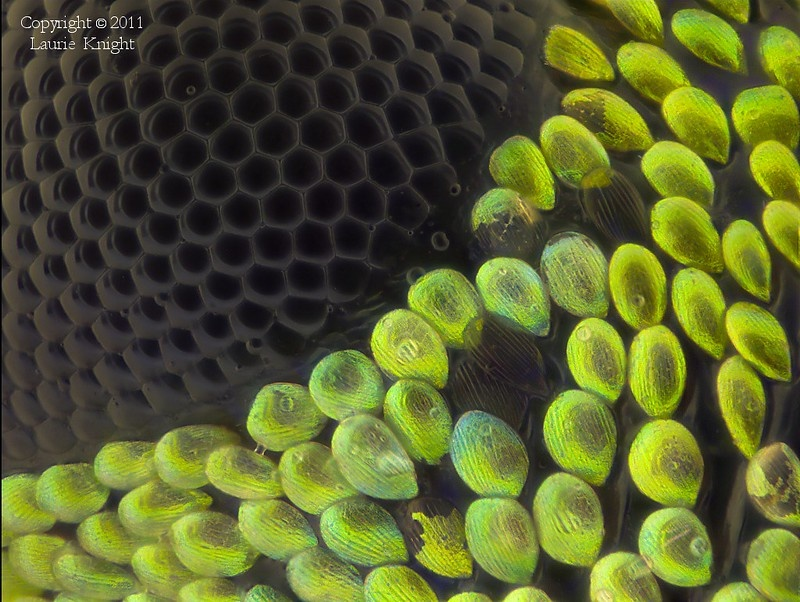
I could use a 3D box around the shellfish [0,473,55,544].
[{"bbox_3d":[-0.737,0.401,1.754,0.096,0.064,0.133,-13,99,-33],"label":"shellfish"}]
